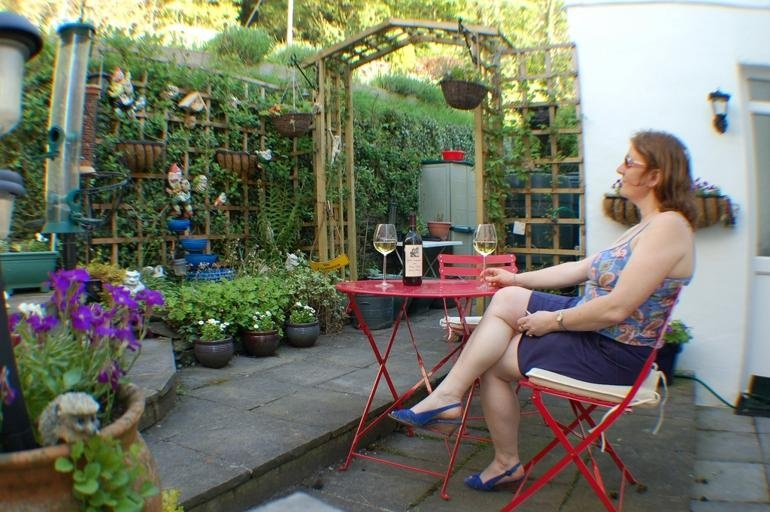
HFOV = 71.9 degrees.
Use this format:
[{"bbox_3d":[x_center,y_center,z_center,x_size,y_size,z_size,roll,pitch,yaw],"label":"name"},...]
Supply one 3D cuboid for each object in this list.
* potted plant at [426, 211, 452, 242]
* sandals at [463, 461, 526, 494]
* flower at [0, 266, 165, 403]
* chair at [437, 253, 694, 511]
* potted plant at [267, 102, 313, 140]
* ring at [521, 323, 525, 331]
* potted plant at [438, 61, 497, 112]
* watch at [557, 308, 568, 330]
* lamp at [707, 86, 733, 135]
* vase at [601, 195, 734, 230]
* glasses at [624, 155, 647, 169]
[{"bbox_3d":[0.890,-0.472,8.771,0.452,0.490,0.459,1,-7,0],"label":"potted plant"},{"bbox_3d":[0.596,1.229,2.930,0.351,0.152,0.130,-4,-7,5],"label":"sandals"},{"bbox_3d":[-1.160,0.316,1.994,0.516,0.608,0.510,8,-5,-14],"label":"flower"},{"bbox_3d":[1.126,0.770,3.296,1.197,1.732,1.035,1,-2,25],"label":"chair"},{"bbox_3d":[-1.130,-1.637,6.449,0.552,0.386,0.537,2,7,-12],"label":"potted plant"},{"bbox_3d":[0.713,0.379,2.744,0.028,0.028,0.017,1,-4,-28],"label":"ring"},{"bbox_3d":[0.734,-1.678,5.318,0.443,0.355,0.467,2,-2,-18],"label":"potted plant"},{"bbox_3d":[0.882,0.323,2.697,0.057,0.090,0.094,8,25,19],"label":"watch"},{"bbox_3d":[2.108,-0.915,3.360,0.133,0.270,0.067,8,9,30],"label":"lamp"},{"bbox_3d":[1.661,-0.252,3.072,0.406,0.150,0.342,4,-5,-12],"label":"vase"},{"bbox_3d":[1.244,-0.464,2.655,0.072,0.025,0.061,7,1,7],"label":"glasses"}]
